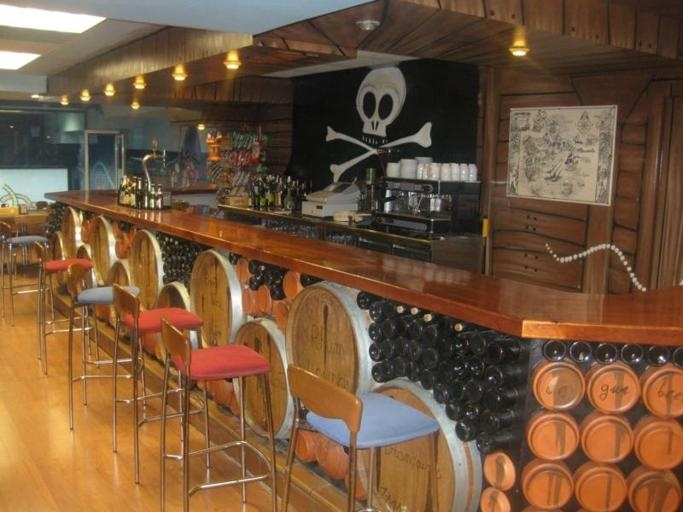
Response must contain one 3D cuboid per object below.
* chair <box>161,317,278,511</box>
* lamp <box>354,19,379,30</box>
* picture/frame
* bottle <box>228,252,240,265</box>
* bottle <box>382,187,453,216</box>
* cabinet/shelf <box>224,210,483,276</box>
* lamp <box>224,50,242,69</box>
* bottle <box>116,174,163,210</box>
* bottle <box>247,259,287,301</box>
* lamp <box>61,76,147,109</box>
[{"bbox_3d":[-0.761,0.887,3.526,0.714,1.257,1.097,-3,12,-19],"label":"chair"},{"bbox_3d":[0.169,-1.465,3.637,0.145,0.046,0.270,1,12,0],"label":"lamp"},{"bbox_3d":[1.862,-0.840,4.769,0.028,0.717,0.806,-6,13,-41],"label":"picture/frame"},{"bbox_3d":[-0.772,0.019,4.116,0.147,0.077,0.042,11,15,39],"label":"bottle"},{"bbox_3d":[0.761,-0.512,5.584,0.255,0.280,0.721,-9,17,-39],"label":"bottle"},{"bbox_3d":[-0.202,-0.361,6.775,0.684,0.359,4.164,-8,16,-38],"label":"cabinet/shelf"},{"bbox_3d":[-0.832,-1.495,4.386,0.104,0.104,0.104,-2,8,-9],"label":"lamp"},{"bbox_3d":[-2.183,-0.687,6.191,0.279,0.302,0.694,-10,16,-42],"label":"bottle"},{"bbox_3d":[-0.498,0.132,3.787,0.244,0.251,0.078,25,55,18],"label":"bottle"},{"bbox_3d":[-2.831,-1.968,6.897,1.324,0.116,0.205,-1,-21,42],"label":"lamp"}]
